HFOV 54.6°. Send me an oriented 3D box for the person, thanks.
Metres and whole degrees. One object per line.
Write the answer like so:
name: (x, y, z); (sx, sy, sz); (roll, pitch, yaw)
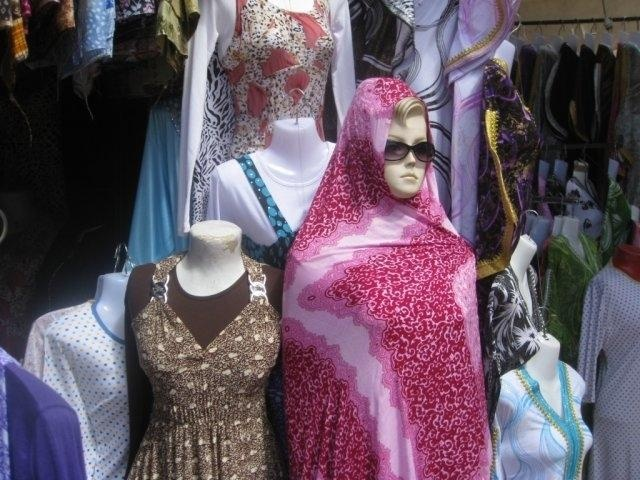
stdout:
person: (0.170, 0.004, 2.219); (1.158, 1.079, 1.532); (35, 45, 28)
